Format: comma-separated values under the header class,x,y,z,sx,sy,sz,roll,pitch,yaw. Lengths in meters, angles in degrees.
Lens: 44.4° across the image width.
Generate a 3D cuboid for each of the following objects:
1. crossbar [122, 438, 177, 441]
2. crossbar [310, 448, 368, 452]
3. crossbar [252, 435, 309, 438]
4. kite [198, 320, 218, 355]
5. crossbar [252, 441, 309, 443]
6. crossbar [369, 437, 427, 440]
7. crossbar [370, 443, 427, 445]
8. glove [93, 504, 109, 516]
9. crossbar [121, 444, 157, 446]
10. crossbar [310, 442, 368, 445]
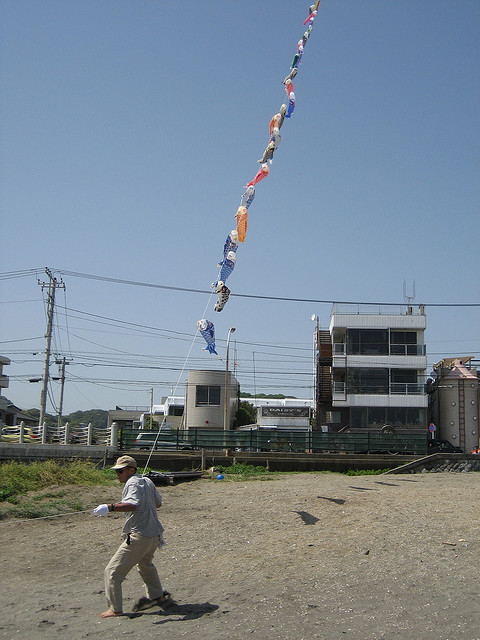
class,x,y,z,sx,sy,sz,roll,pitch,yaw
crossbar,-4.472,5.952,29.434,2.592,0.120,0.945,9,-13,-37
crossbar,5.359,6.833,31.072,2.894,0.175,0.921,5,-11,-20
crossbar,2.082,6.031,30.714,2.875,0.123,0.207,2,-10,-6
kite,-0.647,0.280,11.668,0.306,0.774,0.312,-14,-8,29
crossbar,1.973,6.290,30.595,2.632,0.074,0.298,4,-10,-13
crossbar,8.364,6.258,31.231,2.785,0.091,0.542,2,-10,-5
crossbar,8.334,6.497,31.059,2.888,0.125,0.657,4,-10,-13
glove,-1.388,1.906,5.923,0.136,0.088,0.145,3,-10,-10
crossbar,-5.082,6.107,28.916,1.439,0.073,0.424,7,-12,-30
crossbar,5.164,6.456,30.944,2.920,0.093,0.588,4,-10,-13
